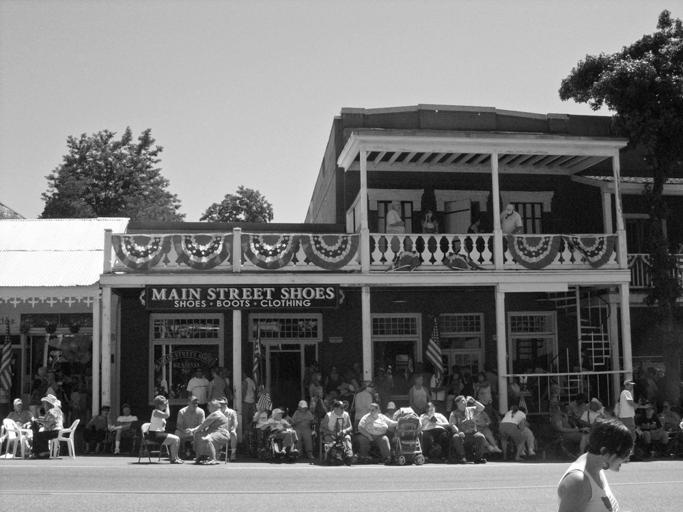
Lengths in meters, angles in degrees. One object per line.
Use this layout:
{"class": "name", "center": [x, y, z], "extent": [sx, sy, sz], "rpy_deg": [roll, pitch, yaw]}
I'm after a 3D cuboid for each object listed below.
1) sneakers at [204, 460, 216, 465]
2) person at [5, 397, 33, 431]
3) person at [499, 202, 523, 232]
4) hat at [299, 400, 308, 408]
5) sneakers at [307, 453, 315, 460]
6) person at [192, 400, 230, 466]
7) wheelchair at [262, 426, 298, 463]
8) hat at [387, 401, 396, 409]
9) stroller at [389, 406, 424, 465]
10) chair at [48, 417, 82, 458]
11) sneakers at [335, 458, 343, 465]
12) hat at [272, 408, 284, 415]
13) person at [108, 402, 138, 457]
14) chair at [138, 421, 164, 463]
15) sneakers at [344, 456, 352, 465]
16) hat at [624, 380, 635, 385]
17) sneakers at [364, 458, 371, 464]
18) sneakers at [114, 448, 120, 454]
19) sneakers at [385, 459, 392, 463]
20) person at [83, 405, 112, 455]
{"class": "sneakers", "center": [-3.410, 5.397, 28.969], "extent": [0.331, 0.120, 0.228], "rpy_deg": [-1, -13, -7]}
{"class": "person", "center": [-9.081, 4.487, 31.299], "extent": [0.728, 1.060, 0.619], "rpy_deg": [-1, -33, -22]}
{"class": "person", "center": [5.142, -1.074, 33.375], "extent": [0.556, 1.020, 0.868], "rpy_deg": [-4, -12, 9]}
{"class": "hat", "center": [-1.029, 4.087, 30.469], "extent": [0.184, 0.156, 0.266], "rpy_deg": [1, 2, 0]}
{"class": "sneakers", "center": [-0.832, 5.500, 30.296], "extent": [0.100, 0.178, 0.167], "rpy_deg": [-8, -24, 28]}
{"class": "person", "center": [-3.418, 4.641, 29.117], "extent": [0.911, 1.624, 0.588], "rpy_deg": [-1, -12, -8]}
{"class": "wheelchair", "center": [-1.678, 5.069, 29.736], "extent": [0.791, 1.005, 0.812], "rpy_deg": [5, -16, -19]}
{"class": "hat", "center": [1.450, 4.253, 31.382], "extent": [0.285, 0.198, 0.358], "rpy_deg": [0, -9, 1]}
{"class": "stroller", "center": [1.887, 4.804, 29.421], "extent": [0.786, 1.426, 0.969], "rpy_deg": [1, 6, 10]}
{"class": "chair", "center": [-7.489, 4.914, 29.855], "extent": [0.736, 0.983, 0.656], "rpy_deg": [3, -1, 7]}
{"class": "sneakers", "center": [-0.035, 5.359, 28.950], "extent": [0.162, 0.177, 0.093], "rpy_deg": [1, 3, 0]}
{"class": "hat", "center": [-1.684, 4.191, 29.836], "extent": [0.211, 0.102, 0.300], "rpy_deg": [4, -12, -20]}
{"class": "person", "center": [-6.167, 4.876, 31.191], "extent": [0.777, 1.436, 0.794], "rpy_deg": [0, -12, -9]}
{"class": "chair", "center": [-5.045, 4.954, 29.514], "extent": [0.565, 0.919, 0.620], "rpy_deg": [8, 6, 24]}
{"class": "sneakers", "center": [0.198, 5.383, 28.991], "extent": [0.254, 0.270, 0.138], "rpy_deg": [1, -8, -8]}
{"class": "hat", "center": [8.155, 3.564, 31.310], "extent": [0.230, 0.103, 0.346], "rpy_deg": [1, -17, -2]}
{"class": "sneakers", "center": [0.734, 5.506, 29.671], "extent": [0.104, 0.151, 0.203], "rpy_deg": [-3, -6, 24]}
{"class": "sneakers", "center": [-6.253, 5.441, 30.922], "extent": [0.130, 0.163, 0.136], "rpy_deg": [-1, -3, -16]}
{"class": "sneakers", "center": [1.274, 5.446, 29.356], "extent": [0.134, 0.166, 0.137], "rpy_deg": [-4, -9, 22]}
{"class": "person", "center": [-6.855, 4.875, 31.063], "extent": [0.727, 1.251, 0.520], "rpy_deg": [-1, -12, -6]}
